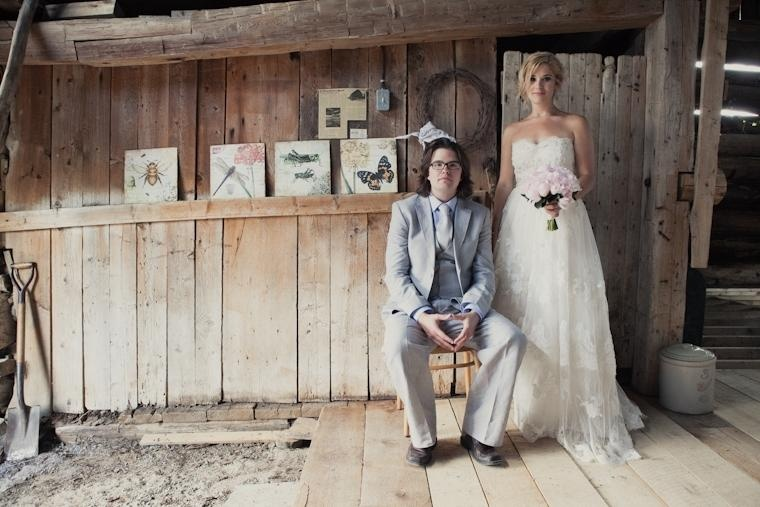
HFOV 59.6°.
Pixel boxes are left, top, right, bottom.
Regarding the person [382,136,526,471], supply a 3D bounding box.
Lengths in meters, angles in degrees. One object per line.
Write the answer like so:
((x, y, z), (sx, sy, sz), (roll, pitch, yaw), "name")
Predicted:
((0.514, 0.318, 4.924), (0.981, 2.334, 0.741), (-2, 8, 0), "person")

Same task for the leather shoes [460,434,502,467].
((0.723, 1.405, 4.853), (0.140, 0.152, 0.374), (0, 18, -34), "leather shoes")

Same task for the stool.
((0.454, 1.089, 5.304), (0.744, 0.756, 0.629), (-2, 4, 7), "stool")

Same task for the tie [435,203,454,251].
((0.504, -0.239, 5.018), (0.122, 0.352, 0.047), (11, 39, 16), "tie")

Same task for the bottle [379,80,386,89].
((0.028, -1.420, 5.525), (0.056, 0.068, 0.019), (-2, 8, 0), "bottle")
